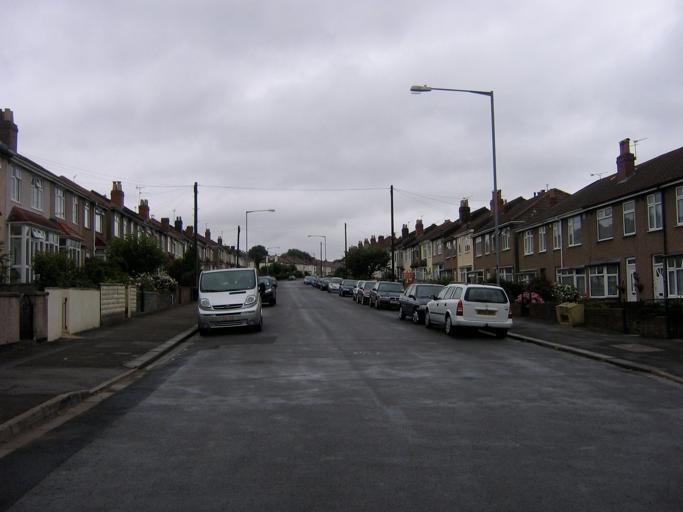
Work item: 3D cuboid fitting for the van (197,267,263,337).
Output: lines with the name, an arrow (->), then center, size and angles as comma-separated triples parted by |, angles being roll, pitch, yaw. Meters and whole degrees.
van -> -3.761, 1.397, 21.095 | 1.968, 1.911, 1.495 | -1, -3, -8

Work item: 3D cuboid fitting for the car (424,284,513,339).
car -> 4.095, 1.730, 21.161 | 1.293, 1.146, 2.899 | 1, 0, -8

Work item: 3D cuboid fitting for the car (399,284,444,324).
car -> 3.186, 1.836, 26.182 | 1.075, 1.014, 1.974 | 1, -6, -18
